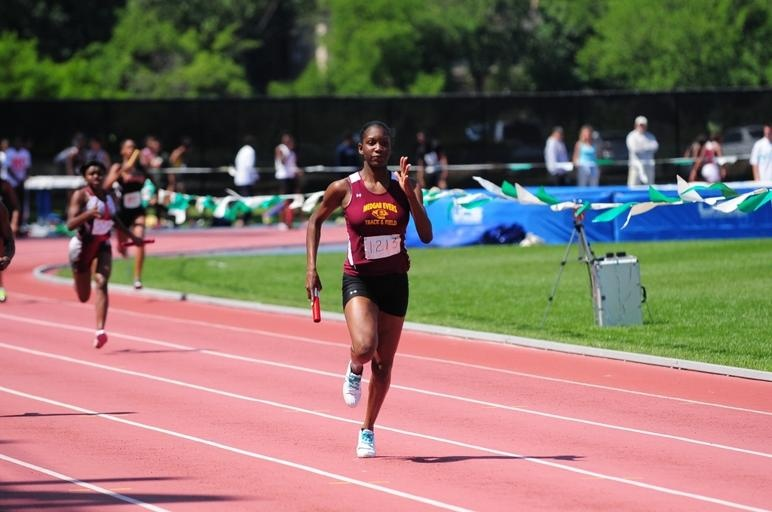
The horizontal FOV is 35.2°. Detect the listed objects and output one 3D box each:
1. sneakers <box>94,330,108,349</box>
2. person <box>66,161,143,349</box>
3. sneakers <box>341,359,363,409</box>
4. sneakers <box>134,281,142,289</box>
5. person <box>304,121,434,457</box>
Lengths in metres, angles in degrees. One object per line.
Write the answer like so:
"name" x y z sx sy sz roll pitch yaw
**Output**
"sneakers" -3.931 1.188 16.924 0.183 0.173 0.383 3 -31 -16
"person" -4.128 0.002 17.349 0.820 2.642 1.444 -2 16 -5
"sneakers" -0.378 1.454 13.853 0.209 0.533 0.230 0 1 -25
"sneakers" -4.239 0.507 20.957 0.139 0.091 0.139 -3 -4 42
"person" -0.262 0.400 13.962 1.108 3.775 1.104 -15 22 -42
